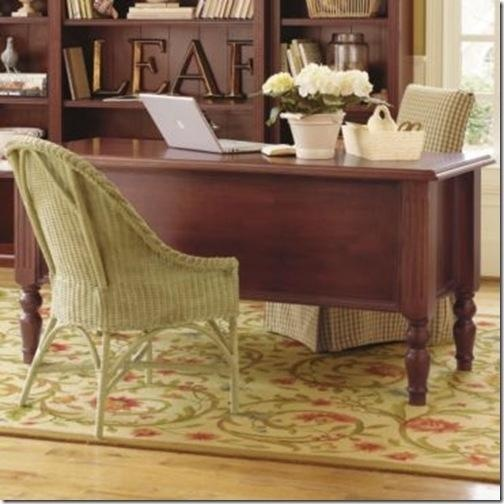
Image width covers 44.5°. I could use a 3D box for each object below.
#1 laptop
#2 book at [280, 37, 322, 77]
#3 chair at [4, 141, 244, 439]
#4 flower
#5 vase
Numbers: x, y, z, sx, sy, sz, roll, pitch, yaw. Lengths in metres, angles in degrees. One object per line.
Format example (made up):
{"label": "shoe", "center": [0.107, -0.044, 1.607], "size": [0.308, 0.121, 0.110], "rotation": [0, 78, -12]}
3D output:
{"label": "laptop", "center": [-0.198, -0.512, 2.504], "size": [0.412, 0.193, 0.384], "rotation": [10, 16, 42]}
{"label": "book", "center": [0.295, -1.229, 3.988], "size": [0.389, 0.290, 0.119], "rotation": [-5, 12, -23]}
{"label": "chair", "center": [-0.441, 0.115, 2.010], "size": [0.795, 0.952, 0.389], "rotation": [0, 12, 0]}
{"label": "flower", "center": [0.247, -0.591, 2.256], "size": [0.421, 0.174, 0.191], "rotation": [2, 11, 8]}
{"label": "vase", "center": [0.245, -0.439, 2.344], "size": [0.276, 0.138, 0.247], "rotation": [-1, 7, -7]}
